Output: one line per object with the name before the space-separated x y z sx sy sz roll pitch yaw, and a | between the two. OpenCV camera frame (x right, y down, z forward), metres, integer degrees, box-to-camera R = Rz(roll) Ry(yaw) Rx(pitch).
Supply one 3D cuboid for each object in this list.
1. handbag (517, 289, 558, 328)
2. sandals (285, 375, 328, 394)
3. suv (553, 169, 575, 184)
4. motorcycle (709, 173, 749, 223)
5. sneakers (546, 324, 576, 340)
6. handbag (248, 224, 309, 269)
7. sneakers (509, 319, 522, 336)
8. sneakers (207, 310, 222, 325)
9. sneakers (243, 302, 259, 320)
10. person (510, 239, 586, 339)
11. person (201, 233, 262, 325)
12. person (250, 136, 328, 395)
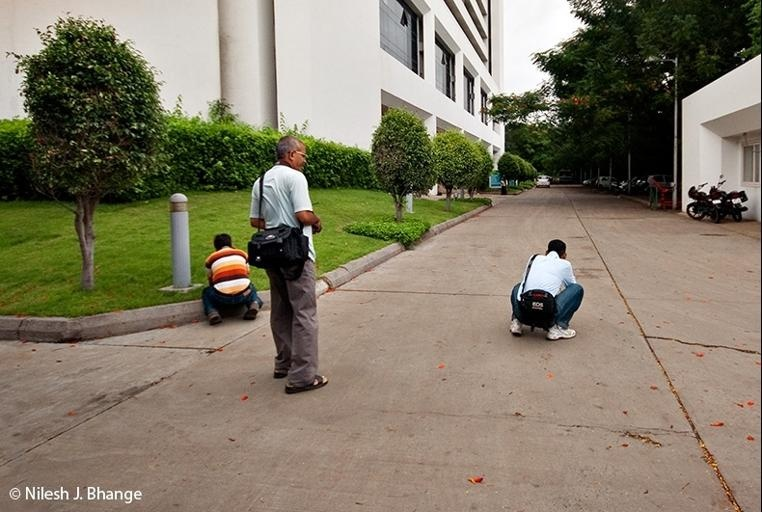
handbag | 2.060 0.729 7.327 0.478 0.588 0.264 1 10 15
sandals | -0.851 1.446 6.336 0.471 0.153 0.169 -5 12 -25
suv | 27.276 -11.646 82.221 1.961 1.721 3.145 4 13 15
motorcycle | 11.968 -1.911 19.262 1.110 1.431 2.033 -1 11 -3
sneakers | 2.392 1.012 7.509 0.411 0.270 0.163 -4 8 -6
handbag | -1.162 -0.089 6.177 0.616 0.448 0.473 -8 -4 15
sneakers | 1.864 0.990 7.676 0.110 0.113 0.264 1 8 19
sneakers | -2.524 0.933 8.409 0.192 0.209 0.182 -5 10 -19
sneakers | -2.010 0.861 8.572 0.140 0.338 0.146 8 49 -17
person | 2.327 0.426 7.715 1.064 1.329 0.894 5 2 -29
person | -2.360 0.339 8.795 0.931 1.435 0.892 -2 -11 -24
person | -1.002 0.071 6.611 1.019 2.937 0.858 -1 -1 37
